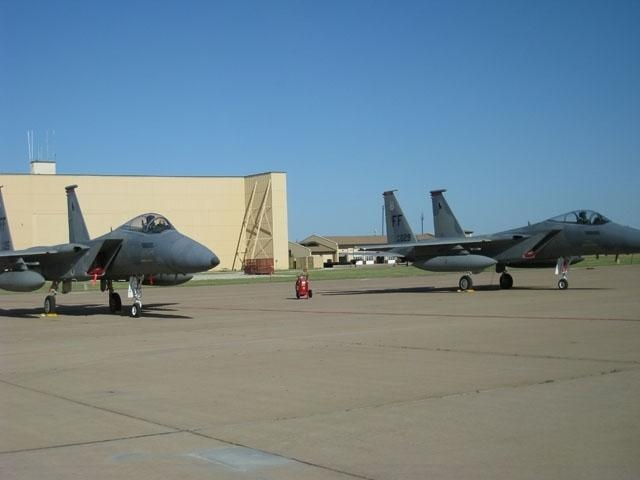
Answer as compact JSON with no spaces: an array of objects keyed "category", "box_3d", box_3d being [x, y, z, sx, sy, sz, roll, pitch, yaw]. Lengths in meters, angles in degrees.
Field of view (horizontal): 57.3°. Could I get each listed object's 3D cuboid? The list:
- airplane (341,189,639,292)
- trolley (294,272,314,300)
[{"category":"airplane","box_3d":[8.745,0.164,26.975,9.089,2.265,8.853,0,1,38]},{"category":"trolley","box_3d":[-0.752,2.037,25.826,1.046,0.814,1.667,0,1,-3]}]
